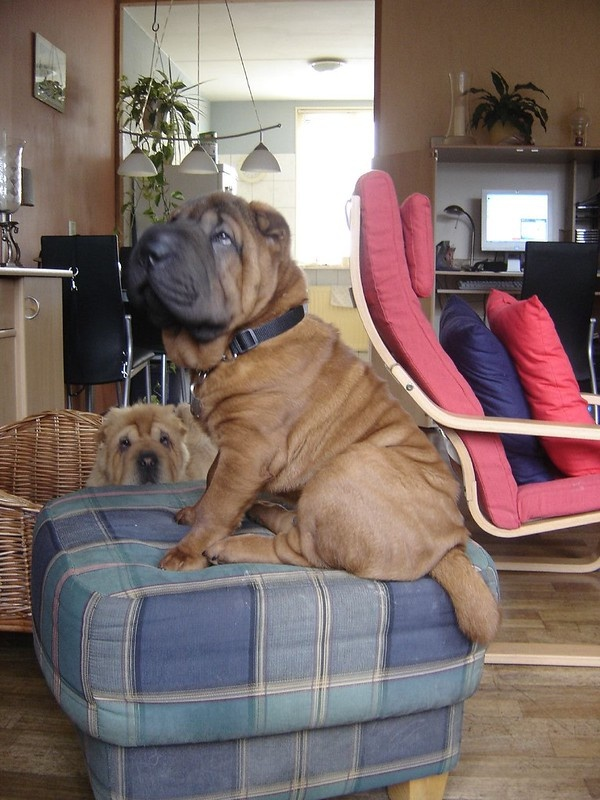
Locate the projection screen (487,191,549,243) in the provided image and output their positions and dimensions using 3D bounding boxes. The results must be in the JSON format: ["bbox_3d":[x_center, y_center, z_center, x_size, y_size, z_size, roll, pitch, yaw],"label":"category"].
[{"bbox_3d":[1.608,-1.340,5.385,0.533,0.445,0.059,11,26,36],"label":"projection screen"}]

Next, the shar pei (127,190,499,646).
[{"bbox_3d":[0.001,0.009,1.331,0.668,0.659,0.476,8,7,-11],"label":"shar pei"}]
